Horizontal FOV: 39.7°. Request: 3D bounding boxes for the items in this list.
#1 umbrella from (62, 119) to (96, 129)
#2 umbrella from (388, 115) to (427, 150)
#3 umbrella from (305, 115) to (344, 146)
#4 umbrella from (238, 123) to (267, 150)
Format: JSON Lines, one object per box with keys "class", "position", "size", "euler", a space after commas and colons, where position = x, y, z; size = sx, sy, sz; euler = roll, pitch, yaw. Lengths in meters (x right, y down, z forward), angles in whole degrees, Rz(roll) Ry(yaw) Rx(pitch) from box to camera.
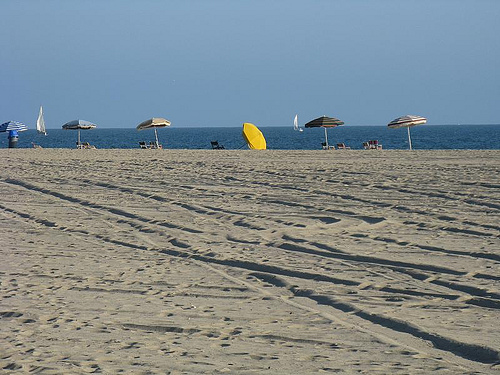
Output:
{"class": "umbrella", "position": [-6.946, -2.614, 28.566], "size": [0.967, 0.349, 1.455], "euler": [-2, 2, -22]}
{"class": "umbrella", "position": [5.637, -1.890, 24.183], "size": [1.359, 1.159, 1.201], "euler": [-11, -6, 21]}
{"class": "umbrella", "position": [2.896, -2.160, 26.037], "size": [1.366, 1.002, 1.411], "euler": [10, 17, 41]}
{"class": "umbrella", "position": [0.176, -1.872, 25.288], "size": [0.771, 0.749, 1.391], "euler": [-1, 1, 1]}
